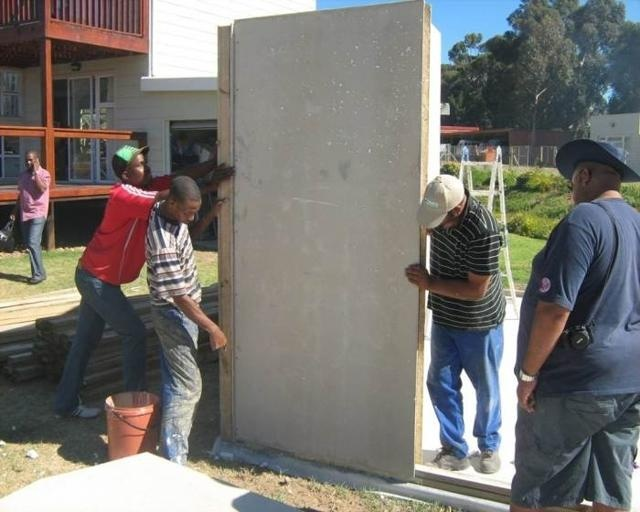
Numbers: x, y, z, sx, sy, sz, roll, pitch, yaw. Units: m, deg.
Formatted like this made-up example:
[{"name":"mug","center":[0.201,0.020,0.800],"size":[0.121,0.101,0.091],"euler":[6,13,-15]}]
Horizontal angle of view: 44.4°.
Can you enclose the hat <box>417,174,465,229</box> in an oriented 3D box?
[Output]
[{"name":"hat","center":[0.887,-0.395,5.718],"size":[0.330,0.393,0.256],"euler":[3,9,10]}]

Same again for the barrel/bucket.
[{"name":"barrel/bucket","center":[-1.502,1.335,6.395],"size":[0.449,0.505,0.480],"euler":[-1,1,0]}]

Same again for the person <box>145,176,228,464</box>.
[{"name":"person","center":[-1.058,0.533,6.196],"size":[0.598,2.294,0.596],"euler":[-1,9,-13]}]

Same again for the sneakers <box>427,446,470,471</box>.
[{"name":"sneakers","center":[1.018,1.601,6.204],"size":[0.349,0.178,0.133],"euler":[5,0,5]}]

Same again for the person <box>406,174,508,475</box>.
[{"name":"person","center":[1.055,0.522,6.000],"size":[0.752,2.288,0.626],"euler":[4,9,13]}]

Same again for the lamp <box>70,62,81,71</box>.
[{"name":"lamp","center":[-5.167,-4.016,16.649],"size":[0.193,0.167,0.161],"euler":[0,3,-17]}]

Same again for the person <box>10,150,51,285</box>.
[{"name":"person","center":[-4.109,-0.619,11.228],"size":[0.479,1.792,1.308],"euler":[-2,10,-21]}]
